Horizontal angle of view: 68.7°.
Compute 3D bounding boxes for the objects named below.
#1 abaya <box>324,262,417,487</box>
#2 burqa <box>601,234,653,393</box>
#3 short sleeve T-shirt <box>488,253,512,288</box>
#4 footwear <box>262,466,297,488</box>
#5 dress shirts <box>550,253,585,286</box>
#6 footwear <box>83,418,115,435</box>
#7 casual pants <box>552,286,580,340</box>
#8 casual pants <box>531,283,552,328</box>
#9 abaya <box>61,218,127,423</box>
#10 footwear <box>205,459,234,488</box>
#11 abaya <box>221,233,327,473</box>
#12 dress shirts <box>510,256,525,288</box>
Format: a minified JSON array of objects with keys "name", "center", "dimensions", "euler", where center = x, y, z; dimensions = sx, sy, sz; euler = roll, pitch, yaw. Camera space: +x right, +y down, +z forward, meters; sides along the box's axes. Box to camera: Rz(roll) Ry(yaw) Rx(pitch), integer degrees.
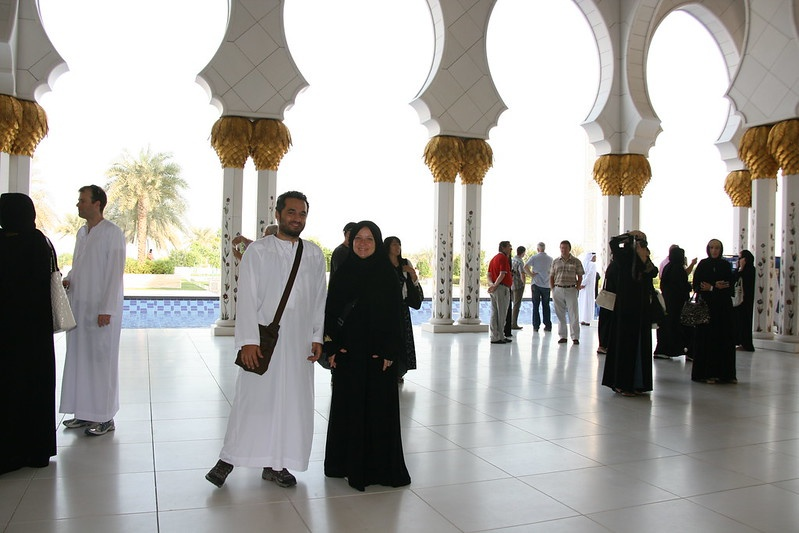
[{"name":"abaya","center":[-0.265,0.860,4.797],"dimensions":[0.683,1.802,0.478],"euler":[1,5,-9]},{"name":"burqa","center":[2.864,0.554,7.251],"dimensions":[0.648,1.964,0.642],"euler":[2,5,2]},{"name":"short sleeve T-shirt","center":[1.793,0.074,10.464],"dimensions":[0.309,0.594,0.561],"euler":[-3,6,-30]},{"name":"footwear","center":[-0.966,1.691,4.779],"dimensions":[0.330,0.160,0.110],"euler":[4,5,34]},{"name":"dress shirts","center":[2.952,0.121,10.672],"dimensions":[0.754,0.774,0.464],"euler":[1,-9,10]},{"name":"footwear","center":[-2.818,1.512,5.507],"dimensions":[0.097,0.109,0.242],"euler":[-2,-9,31]},{"name":"casual pants","center":[3.017,0.841,10.599],"dimensions":[0.478,1.052,0.308],"euler":[-1,2,34]},{"name":"casual pants","center":[2.925,0.734,12.101],"dimensions":[0.361,1.141,0.252],"euler":[-2,24,11]},{"name":"abaya","center":[-2.946,0.517,5.617],"dimensions":[0.577,1.929,0.425],"euler":[2,5,4]},{"name":"footwear","center":[-1.422,1.630,4.630],"dimensions":[0.144,0.123,0.317],"euler":[-43,7,-20]},{"name":"abaya","center":[-0.985,0.689,4.827],"dimensions":[0.753,1.899,0.528],"euler":[5,-2,-27]},{"name":"dress shirts","center":[2.270,0.106,11.342],"dimensions":[0.234,0.768,0.534],"euler":[-2,6,0]}]
